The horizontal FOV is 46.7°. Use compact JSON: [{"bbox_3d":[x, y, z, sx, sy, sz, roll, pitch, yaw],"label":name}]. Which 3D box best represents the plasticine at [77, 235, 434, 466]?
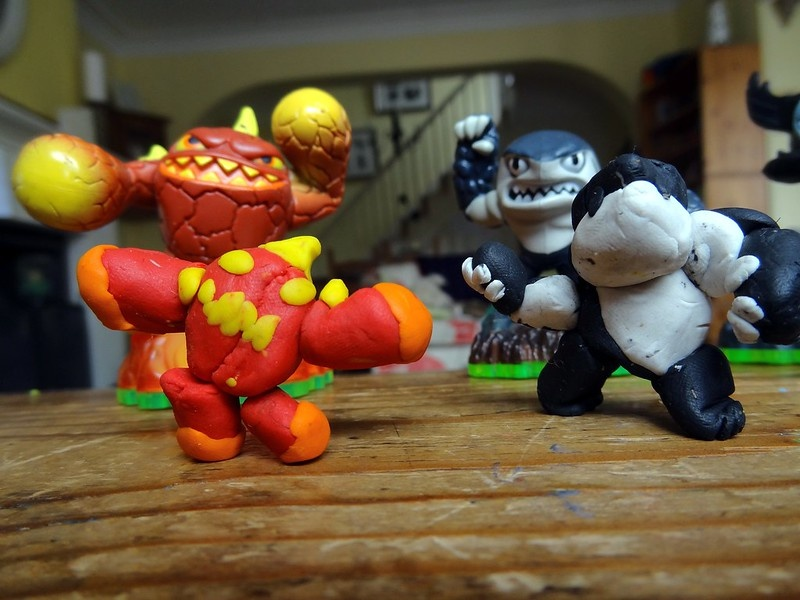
[{"bbox_3d":[-0.314,0.118,1.857,0.755,0.444,0.294,8,15,16],"label":"plasticine"}]

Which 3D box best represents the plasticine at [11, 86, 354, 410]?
[{"bbox_3d":[-0.441,-0.133,2.008,0.703,0.557,0.381,-2,3,-7],"label":"plasticine"}]
